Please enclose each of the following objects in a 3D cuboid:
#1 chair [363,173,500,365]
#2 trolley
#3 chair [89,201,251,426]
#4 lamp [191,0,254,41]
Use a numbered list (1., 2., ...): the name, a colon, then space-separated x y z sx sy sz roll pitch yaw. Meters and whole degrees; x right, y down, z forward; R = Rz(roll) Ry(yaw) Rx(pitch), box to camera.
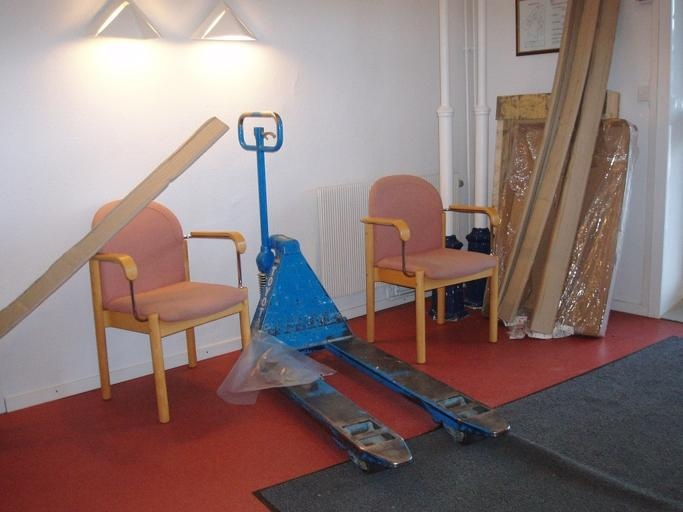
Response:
1. chair: 0.651 0.036 3.876 0.906 1.187 0.888 -3 11 -3
2. trolley: -0.023 0.002 3.091 0.946 1.748 1.928 -7 13 -28
3. chair: -1.036 0.264 3.310 0.727 1.168 0.861 8 14 40
4. lamp: -0.775 -1.501 3.557 0.381 0.279 0.260 -4 6 -20
